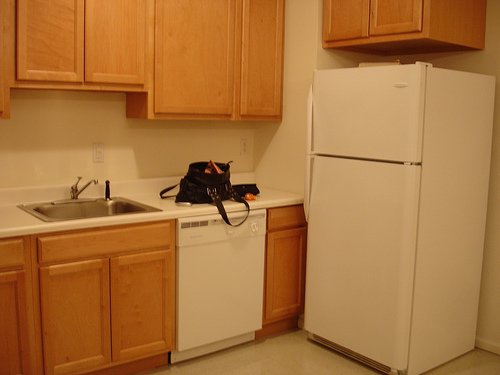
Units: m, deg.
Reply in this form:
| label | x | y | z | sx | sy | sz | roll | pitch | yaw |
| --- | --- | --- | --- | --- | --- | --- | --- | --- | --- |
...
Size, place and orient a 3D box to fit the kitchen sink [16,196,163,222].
| label | x | y | z | sx | sy | sz | roll | pitch | yaw |
| --- | --- | --- | --- | --- | --- | --- | --- | --- | --- |
| kitchen sink | -1.034 | 0.169 | 2.811 | 0.800 | 0.115 | 0.603 | -4 | 11 | -31 |

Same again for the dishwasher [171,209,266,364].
| label | x | y | z | sx | sy | sz | roll | pitch | yaw |
| --- | --- | --- | --- | --- | --- | --- | --- | --- | --- |
| dishwasher | -0.187 | 0.611 | 3.010 | 0.690 | 0.885 | 0.153 | -6 | 11 | -40 |

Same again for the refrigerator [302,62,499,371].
| label | x | y | z | sx | sy | sz | roll | pitch | yaw |
| --- | --- | --- | --- | --- | --- | --- | --- | --- | --- |
| refrigerator | 0.984 | 0.213 | 2.952 | 1.261 | 1.998 | 0.550 | 3 | 9 | 10 |

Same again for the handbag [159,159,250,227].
| label | x | y | z | sx | sy | sz | roll | pitch | yaw |
| --- | --- | --- | --- | --- | --- | --- | --- | --- | --- |
| handbag | -0.325 | 0.014 | 3.136 | 0.485 | 0.392 | 0.673 | -5 | 17 | -38 |

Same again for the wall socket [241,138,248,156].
| label | x | y | z | sx | sy | sz | roll | pitch | yaw |
| --- | --- | --- | --- | --- | --- | --- | --- | --- | --- |
| wall socket | -0.050 | -0.345 | 3.766 | 0.063 | 0.146 | 0.007 | -4 | 10 | -32 |
